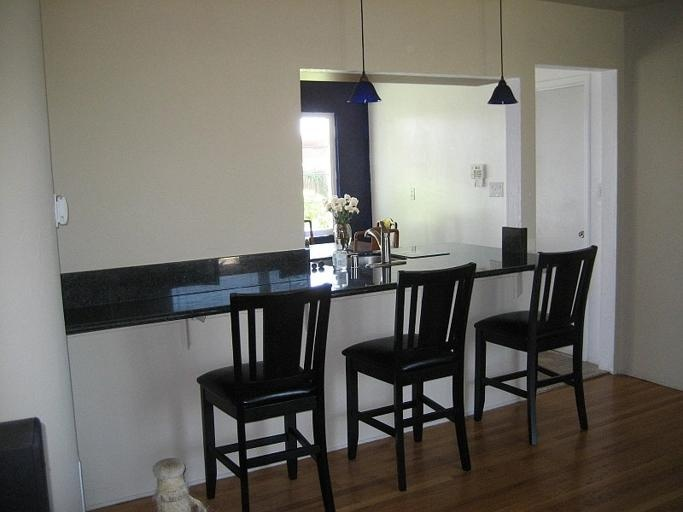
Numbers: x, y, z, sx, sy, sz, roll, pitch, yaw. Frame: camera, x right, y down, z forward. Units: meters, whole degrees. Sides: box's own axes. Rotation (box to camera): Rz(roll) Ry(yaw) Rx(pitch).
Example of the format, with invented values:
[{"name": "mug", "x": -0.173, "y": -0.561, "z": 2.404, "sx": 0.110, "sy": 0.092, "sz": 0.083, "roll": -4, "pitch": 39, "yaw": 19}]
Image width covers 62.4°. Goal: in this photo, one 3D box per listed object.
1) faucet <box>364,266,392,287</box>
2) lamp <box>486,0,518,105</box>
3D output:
[{"name": "faucet", "x": 0.237, "y": 0.134, "z": 3.573, "sx": 0.135, "sy": 0.143, "sz": 0.103, "roll": -9, "pitch": 15, "yaw": -39}, {"name": "lamp", "x": 1.158, "y": -1.435, "z": 3.972, "sx": 0.180, "sy": 0.728, "sz": 0.541, "roll": 2, "pitch": 12, "yaw": 18}]
